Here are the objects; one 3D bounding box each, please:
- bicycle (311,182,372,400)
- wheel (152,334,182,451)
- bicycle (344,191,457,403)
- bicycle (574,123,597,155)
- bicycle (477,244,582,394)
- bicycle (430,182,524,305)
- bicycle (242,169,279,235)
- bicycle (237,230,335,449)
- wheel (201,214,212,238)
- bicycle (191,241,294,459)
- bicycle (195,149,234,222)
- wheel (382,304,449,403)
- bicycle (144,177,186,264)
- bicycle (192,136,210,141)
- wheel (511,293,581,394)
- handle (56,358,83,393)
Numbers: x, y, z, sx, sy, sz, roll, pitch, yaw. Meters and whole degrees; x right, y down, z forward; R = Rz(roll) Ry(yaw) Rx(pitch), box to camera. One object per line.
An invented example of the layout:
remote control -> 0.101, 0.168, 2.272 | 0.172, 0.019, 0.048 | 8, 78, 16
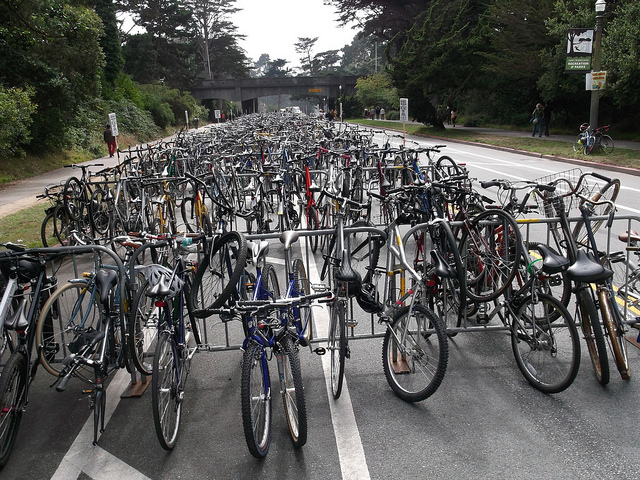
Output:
bicycle -> 0.262, 0.637, 5.798 | 0.825, 1.478, 2.499 | -1, 57, 0
wheel -> -1.292, 1.262, 4.097 | 0.233, 0.926, 0.646 | -5, 15, -17
bicycle -> 0.827, 0.463, 5.370 | 0.788, 1.598, 2.535 | 5, 15, -13
bicycle -> 12.119, -4.541, 21.838 | 1.530, 1.080, 0.947 | -2, 20, -31
bicycle -> 2.289, 0.844, 5.019 | 0.686, 0.913, 1.481 | -4, 16, -3
bicycle -> 1.932, 0.074, 5.893 | 0.884, 1.206, 1.818 | -8, 1, -7
bicycle -> -1.267, -0.898, 10.219 | 0.691, 1.069, 1.693 | 9, 15, -2
bicycle -> -0.251, 0.779, 4.449 | 0.877, 1.202, 1.991 | -5, 26, 6
wheel -> -1.945, -0.230, 8.272 | 0.112, 0.531, 0.487 | -9, 4, -19
bicycle -> -0.507, 0.810, 4.318 | 0.821, 1.105, 1.797 | -4, 27, 0
bicycle -> -2.491, -1.146, 11.231 | 0.856, 1.165, 1.893 | -3, 32, 1
wheel -> 0.885, 1.069, 4.533 | 0.245, 0.925, 0.781 | -12, 19, -38
bicycle -> -3.014, -0.428, 9.346 | 0.885, 1.308, 2.071 | -5, 16, -8
bicycle -> -4.823, -4.082, 19.612 | 0.418, 0.121, 0.454 | -1, 6, -28
wheel -> 2.279, 0.915, 4.889 | 0.587, 0.910, 1.112 | 6, 17, 25
handle -> -2.103, 1.163, 4.084 | 0.151, 0.090, 0.319 | 3, 33, -1
